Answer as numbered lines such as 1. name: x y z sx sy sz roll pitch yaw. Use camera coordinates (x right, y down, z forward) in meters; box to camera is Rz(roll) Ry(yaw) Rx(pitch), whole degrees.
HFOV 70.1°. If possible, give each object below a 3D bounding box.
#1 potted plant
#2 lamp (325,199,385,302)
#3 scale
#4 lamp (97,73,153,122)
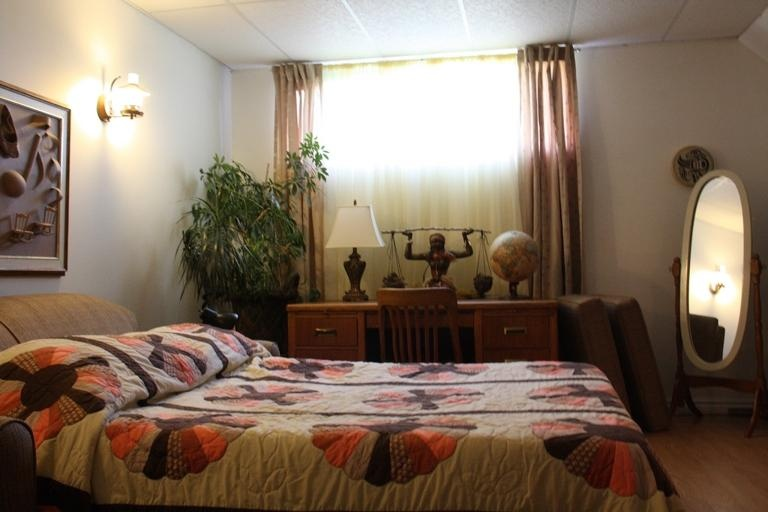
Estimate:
1. potted plant: -1.030 -0.210 4.236 0.875 1.409 0.677 -8 30 -23
2. lamp: -0.219 -0.060 4.371 0.436 0.789 0.467 0 4 -1
3. scale: 0.444 0.020 4.345 0.699 0.560 0.185 -1 18 8
4. lamp: -1.680 -1.019 3.540 0.303 0.310 0.233 -4 10 -20
